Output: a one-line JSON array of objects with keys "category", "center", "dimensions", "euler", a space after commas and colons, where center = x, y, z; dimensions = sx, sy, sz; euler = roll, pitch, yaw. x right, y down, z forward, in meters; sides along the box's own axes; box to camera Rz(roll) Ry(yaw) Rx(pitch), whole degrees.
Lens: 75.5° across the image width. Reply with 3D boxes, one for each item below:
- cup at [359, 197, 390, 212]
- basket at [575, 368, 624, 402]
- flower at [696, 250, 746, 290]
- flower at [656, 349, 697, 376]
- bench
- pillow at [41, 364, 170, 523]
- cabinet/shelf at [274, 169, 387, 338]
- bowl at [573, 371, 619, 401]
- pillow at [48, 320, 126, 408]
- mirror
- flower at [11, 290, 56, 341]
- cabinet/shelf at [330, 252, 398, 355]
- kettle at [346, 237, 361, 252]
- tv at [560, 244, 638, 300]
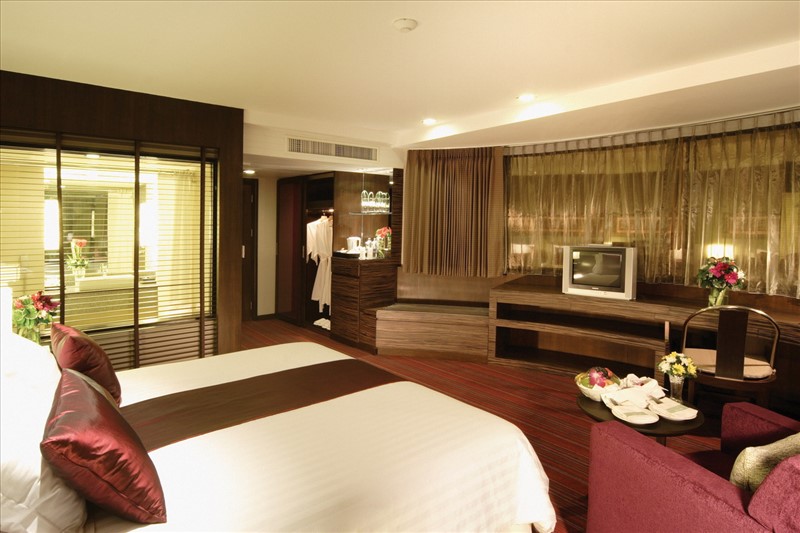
[{"category": "cup", "center": [-0.371, -0.848, 7.509], "dimensions": [0.364, 0.170, 0.201], "euler": [-1, 6, -17]}, {"category": "basket", "center": [1.457, 0.839, 3.845], "dimensions": [0.257, 0.174, 0.254], "euler": [-1, 3, 12]}, {"category": "flower", "center": [3.156, 0.110, 5.085], "dimensions": [0.419, 0.403, 0.457], "euler": [-4, 7, 7]}, {"category": "flower", "center": [2.027, 0.723, 3.776], "dimensions": [0.204, 0.196, 0.255], "euler": [6, 9, 36]}, {"category": "bench", "center": [0.490, 0.606, 6.972], "dimensions": [1.592, 1.073, 0.887], "euler": [2, 2, 25]}, {"category": "pillow", "center": [-1.560, 0.697, 2.707], "dimensions": [0.557, 0.500, 1.279], "euler": [-3, 20, -36]}, {"category": "cabinet/shelf", "center": [-1.097, -0.181, 8.010], "dimensions": [0.674, 2.334, 2.365], "euler": [-5, 9, -42]}, {"category": "bowl", "center": [1.427, 0.878, 3.820], "dimensions": [0.210, 0.117, 0.211], "euler": [0, 3, 0]}, {"category": "pillow", "center": [-2.188, 0.623, 3.584], "dimensions": [0.320, 0.500, 0.566], "euler": [-7, 20, -44]}, {"category": "mirror", "center": [-3.209, -0.327, 5.244], "dimensions": [0.494, 0.655, 0.023], "euler": [3, 3, 3]}, {"category": "flower", "center": [-2.967, 0.406, 4.133], "dimensions": [0.351, 0.384, 0.382], "euler": [6, 2, -38]}, {"category": "cabinet/shelf", "center": [-0.483, 0.508, 7.048], "dimensions": [0.817, 1.527, 1.107], "euler": [-4, 9, -39]}, {"category": "kettle", "center": [-0.658, -0.302, 7.359], "dimensions": [0.222, 0.194, 0.082], "euler": [-4, 9, -33]}, {"category": "tv", "center": [2.254, 0.055, 5.816], "dimensions": [0.774, 0.570, 0.392], "euler": [4, 7, 33]}]
